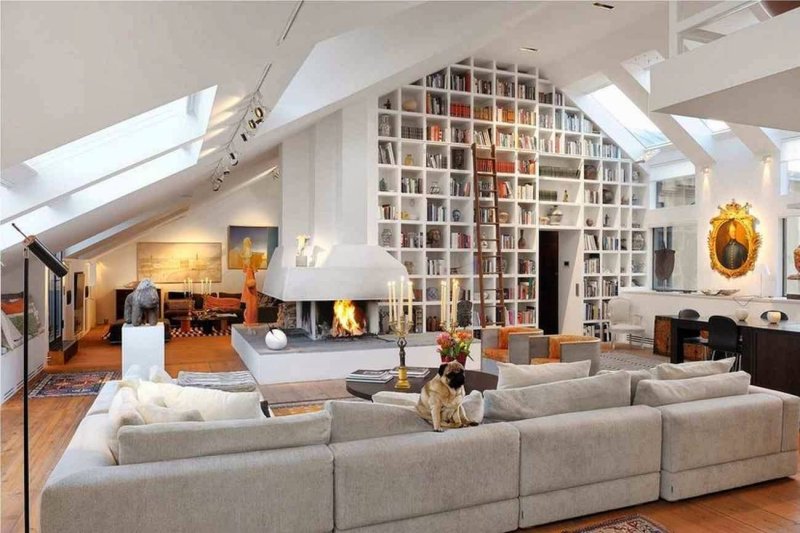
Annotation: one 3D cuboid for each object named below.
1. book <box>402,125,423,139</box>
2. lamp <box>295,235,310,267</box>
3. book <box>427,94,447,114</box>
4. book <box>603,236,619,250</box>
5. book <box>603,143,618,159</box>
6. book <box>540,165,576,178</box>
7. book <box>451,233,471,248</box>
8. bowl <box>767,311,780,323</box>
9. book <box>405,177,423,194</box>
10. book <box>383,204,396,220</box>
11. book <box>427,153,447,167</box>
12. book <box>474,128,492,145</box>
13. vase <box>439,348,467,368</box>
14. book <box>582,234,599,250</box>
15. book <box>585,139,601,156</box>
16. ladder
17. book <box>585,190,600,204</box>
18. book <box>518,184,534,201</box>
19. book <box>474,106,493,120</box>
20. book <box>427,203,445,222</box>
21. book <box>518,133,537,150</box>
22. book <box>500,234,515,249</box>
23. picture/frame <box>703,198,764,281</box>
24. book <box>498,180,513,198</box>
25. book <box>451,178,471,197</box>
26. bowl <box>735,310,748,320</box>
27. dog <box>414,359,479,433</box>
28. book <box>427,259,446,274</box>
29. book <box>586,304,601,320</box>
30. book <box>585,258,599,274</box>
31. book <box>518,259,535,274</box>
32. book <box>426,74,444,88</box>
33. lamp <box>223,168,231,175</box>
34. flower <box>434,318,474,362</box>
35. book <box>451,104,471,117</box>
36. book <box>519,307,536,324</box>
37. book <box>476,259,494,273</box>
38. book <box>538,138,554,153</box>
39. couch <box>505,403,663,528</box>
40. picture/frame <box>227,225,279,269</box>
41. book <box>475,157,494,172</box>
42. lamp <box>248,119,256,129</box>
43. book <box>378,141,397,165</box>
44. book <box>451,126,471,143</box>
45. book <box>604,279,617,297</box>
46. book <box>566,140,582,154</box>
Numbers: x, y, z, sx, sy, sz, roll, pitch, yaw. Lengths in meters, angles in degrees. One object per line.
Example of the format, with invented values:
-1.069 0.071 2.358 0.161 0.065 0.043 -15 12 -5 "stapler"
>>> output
0.202 -2.399 9.389 0.385 0.245 0.107 1 -3 -8 "book"
-1.599 -0.263 8.555 0.187 0.508 0.598 2 -3 -9 "lamp"
0.636 -2.936 9.549 0.389 0.379 0.103 2 -3 -17 "book"
4.487 -0.472 11.251 0.363 0.342 0.254 1 -3 -8 "book"
4.434 -2.430 11.062 0.359 0.337 0.261 -1 -3 -17 "book"
3.196 -1.910 10.558 0.422 0.097 0.382 1 2 -11 "book"
1.105 -0.443 9.797 0.360 0.337 0.262 2 -3 -25 "book"
4.874 0.653 6.872 0.159 0.121 0.161 0 -5 0 "bowl"
0.219 -1.427 9.263 0.272 0.355 0.361 0 3 -7 "book"
-0.195 -0.948 9.282 0.229 0.292 0.304 1 1 -11 "book"
0.665 -1.932 9.567 0.257 0.109 0.323 0 2 -12 "book"
1.582 -2.452 9.963 0.293 0.370 0.125 0 -1 -8 "book"
0.540 0.908 5.277 0.245 0.193 0.265 0 -5 2 "vase"
4.003 -0.486 11.178 0.313 0.397 0.421 0 2 -8 "book"
4.017 -2.447 11.037 0.343 0.440 0.461 0 3 10 "book"
1.648 -0.621 9.822 0.618 3.427 1.031 0 -3 19 "ladder"
4.041 -1.454 10.983 0.285 0.366 0.376 0 -1 11 "book"
2.459 -1.417 10.449 0.299 0.377 0.394 1 2 -14 "book"
1.593 -2.902 10.000 0.350 0.330 0.257 0 0 -21 "book"
0.662 -0.968 9.560 0.302 0.397 0.404 0 1 -18 "book"
2.499 -2.449 10.296 0.360 0.338 0.198 2 -7 -24 "book"
2.094 -0.484 10.234 0.239 0.302 0.318 0 0 0 "book"
6.075 -0.502 9.537 0.175 1.399 0.925 2 -3 -18 "picture/frame"
2.043 -1.455 10.153 0.280 0.358 0.379 0 -3 15 "book"
1.101 -1.464 9.755 0.380 0.372 0.124 4 -4 -11 "book"
4.713 0.652 7.230 0.182 0.131 0.179 -1 -5 0 "bowl"
0.323 0.965 3.997 0.368 0.485 0.490 3 -4 -22 "dog"
0.659 0.006 9.561 0.255 0.331 0.349 0 -1 5 "book"
4.078 0.949 11.062 0.324 0.302 0.177 2 -5 -24 "book"
4.061 -0.039 11.136 0.374 0.356 0.273 3 3 23 "book"
2.496 0.023 10.494 0.238 0.310 0.327 4 -6 -34 "book"
0.642 -3.367 9.508 0.379 0.283 0.050 2 -3 -22 "book"
-2.356 -1.269 7.042 0.118 0.062 0.158 -2 -1 -11 "lamp"
0.587 0.739 5.311 0.495 0.493 0.450 1 -4 -21 "flower"
1.103 -2.877 9.695 0.289 0.072 0.280 1 2 -29 "book"
2.495 0.963 10.460 0.293 0.370 0.392 1 -1 -9 "book"
1.625 -0.027 9.823 0.262 0.339 0.357 -1 2 -2 "book"
2.924 -2.423 10.521 0.338 0.318 0.239 2 -4 -33 "book"
1.432 1.514 4.261 1.390 0.871 0.748 -1 3 -18 "couch"
-4.129 -0.529 14.287 1.318 1.009 0.054 1 -4 -22 "picture/frame"
1.563 -1.882 9.809 0.410 0.289 0.232 1 -2 -29 "book"
-1.533 -1.460 5.395 0.060 0.082 0.082 2 35 13 "lamp"
-0.246 -1.949 9.188 0.313 0.409 0.127 -2 0 -1 "book"
1.103 -2.433 9.804 0.307 0.395 0.412 0 1 -13 "book"
4.489 0.455 11.165 0.317 0.417 0.350 2 -1 -6 "book"
3.569 -2.441 10.775 0.341 0.322 0.157 2 2 -5 "book"
